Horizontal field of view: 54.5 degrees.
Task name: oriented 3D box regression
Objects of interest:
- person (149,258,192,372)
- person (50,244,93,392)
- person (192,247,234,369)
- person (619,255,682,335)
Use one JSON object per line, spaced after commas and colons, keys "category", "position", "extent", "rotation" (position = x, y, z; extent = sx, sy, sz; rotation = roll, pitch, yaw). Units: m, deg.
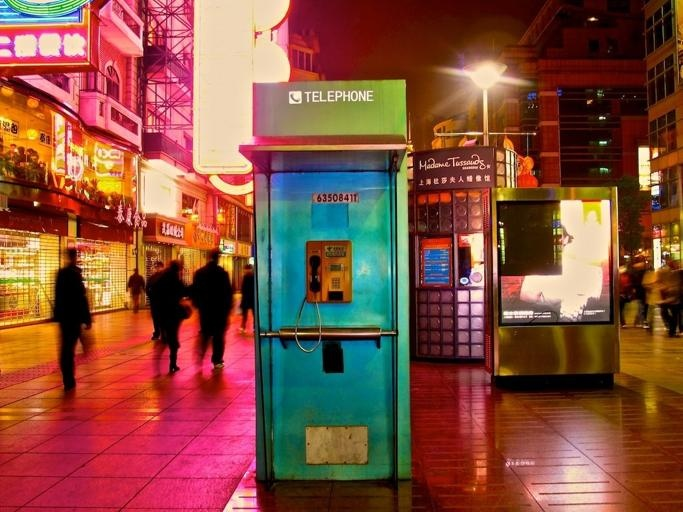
{"category": "person", "position": [-3.581, 1.195, 13.387], "extent": [0.784, 2.190, 0.630], "rotation": [-4, 6, -9]}
{"category": "person", "position": [-4.632, 1.109, 11.376], "extent": [0.545, 2.330, 0.574], "rotation": [-4, 9, -24]}
{"category": "person", "position": [-2.565, 1.058, 13.134], "extent": [0.704, 2.366, 0.807], "rotation": [-6, 10, -33]}
{"category": "person", "position": [8.289, 1.083, 17.186], "extent": [0.950, 1.987, 1.187], "rotation": [4, 10, 25]}
